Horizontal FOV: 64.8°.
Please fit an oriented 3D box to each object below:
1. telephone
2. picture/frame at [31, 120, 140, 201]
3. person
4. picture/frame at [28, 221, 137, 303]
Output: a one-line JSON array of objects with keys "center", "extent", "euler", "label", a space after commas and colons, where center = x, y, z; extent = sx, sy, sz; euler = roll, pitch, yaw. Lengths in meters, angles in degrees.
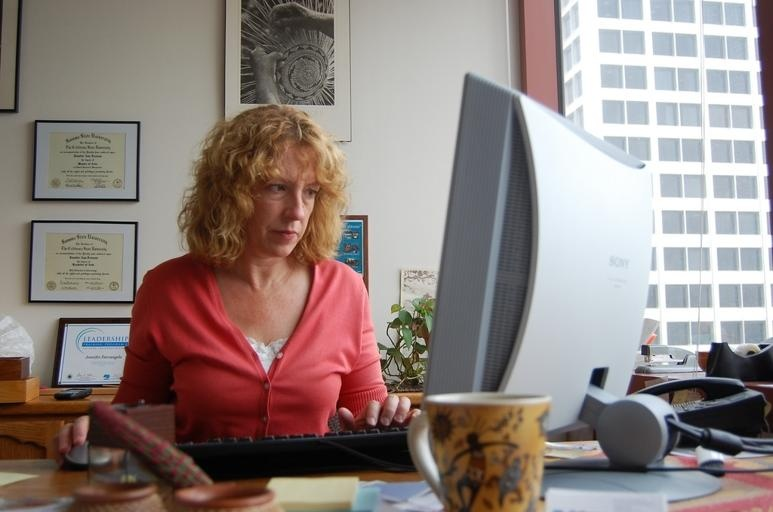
[{"center": [0.645, 0.304, 1.327], "extent": [0.354, 0.146, 0.132], "euler": [3, -5, -3], "label": "telephone"}, {"center": [-1.444, -0.445, 2.900], "extent": [0.368, 0.313, 0.019], "euler": [0, -7, -4], "label": "picture/frame"}, {"center": [-0.404, 0.096, 1.678], "extent": [0.858, 1.025, 0.550], "euler": [1, 2, -24], "label": "person"}, {"center": [-1.441, 0.035, 2.865], "extent": [0.361, 0.314, 0.029], "euler": [0, -5, -2], "label": "picture/frame"}]
